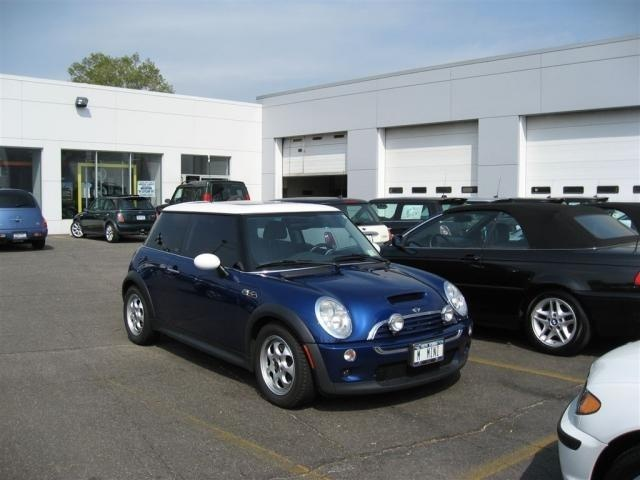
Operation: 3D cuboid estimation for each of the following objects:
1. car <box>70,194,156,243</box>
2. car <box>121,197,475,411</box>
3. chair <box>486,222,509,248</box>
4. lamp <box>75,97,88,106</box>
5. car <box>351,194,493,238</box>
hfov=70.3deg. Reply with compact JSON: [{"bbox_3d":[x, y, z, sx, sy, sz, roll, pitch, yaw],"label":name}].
[{"bbox_3d":[-9.359,-0.994,20.854,4.564,1.764,2.563,5,6,40],"label":"car"},{"bbox_3d":[-0.578,0.504,5.558,4.436,1.925,1.908,5,6,41],"label":"car"},{"bbox_3d":[2.469,-0.066,6.291,0.286,0.425,0.242,7,-15,19],"label":"chair"},{"bbox_3d":[-11.873,-6.860,22.718,0.519,0.452,0.374,3,-2,-15],"label":"lamp"},{"bbox_3d":[2.485,-0.722,12.468,2.184,0.999,1.249,7,9,33],"label":"car"}]
